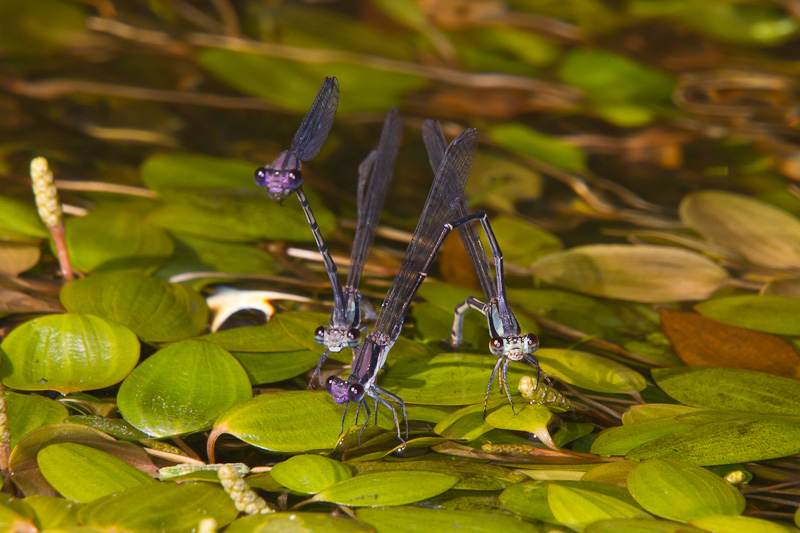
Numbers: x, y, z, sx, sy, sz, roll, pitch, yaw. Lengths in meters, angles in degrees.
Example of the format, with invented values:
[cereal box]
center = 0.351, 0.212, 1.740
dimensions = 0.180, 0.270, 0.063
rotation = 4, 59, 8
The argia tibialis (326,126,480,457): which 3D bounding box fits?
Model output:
[argia tibialis]
center = 0.018, 0.005, 1.168
dimensions = 0.122, 0.316, 0.400
rotation = 18, 38, -2
